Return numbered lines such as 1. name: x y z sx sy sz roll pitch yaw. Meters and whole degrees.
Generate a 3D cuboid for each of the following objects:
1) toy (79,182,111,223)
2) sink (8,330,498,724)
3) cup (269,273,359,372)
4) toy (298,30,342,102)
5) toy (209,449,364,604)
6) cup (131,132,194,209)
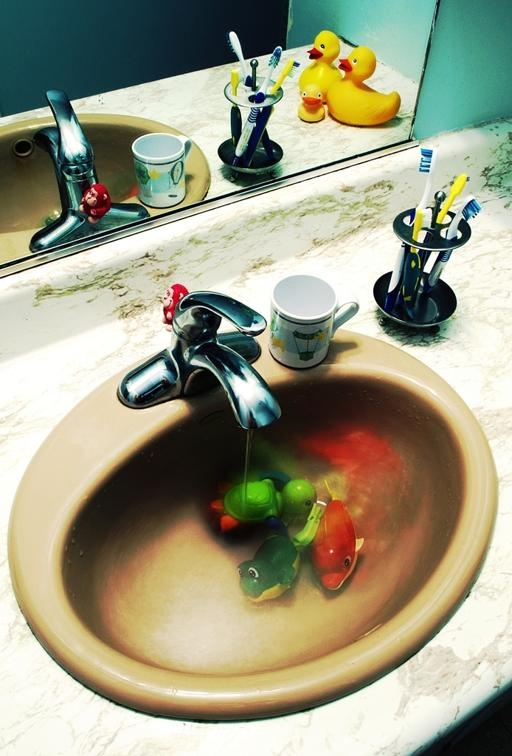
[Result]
1. toy: -0.188 -0.204 0.732 0.026 0.034 0.026 -29 65 -33
2. sink: 0.010 0.142 0.657 0.494 0.191 0.388 -15 39 -24
3. cup: 0.043 -0.079 0.749 0.122 0.097 0.074 -16 59 -14
4. toy: 0.096 -0.430 0.887 0.072 0.092 0.063 -14 33 -21
5. toy: 0.038 0.175 0.694 0.116 0.053 0.157 -21 52 -22
6. cup: -0.104 -0.261 0.787 0.097 0.068 0.059 -20 52 -20
